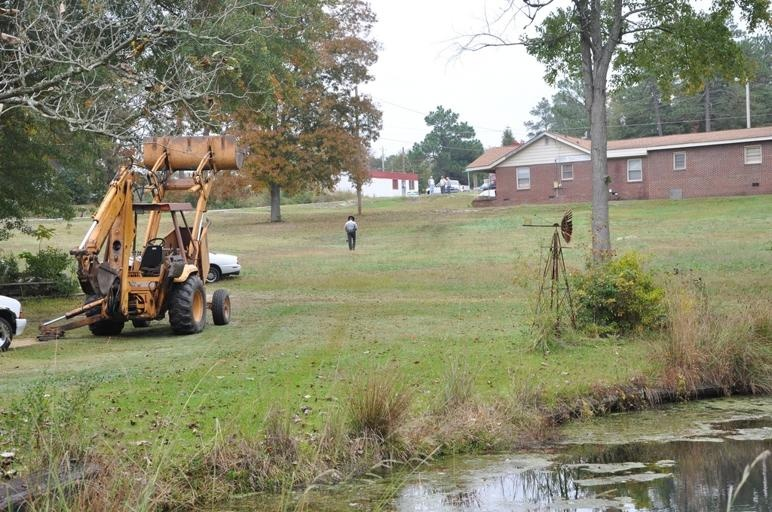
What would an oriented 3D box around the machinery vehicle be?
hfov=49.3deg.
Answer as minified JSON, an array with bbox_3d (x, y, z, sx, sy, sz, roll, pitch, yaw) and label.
[{"bbox_3d":[-6.403,-0.428,22.104,3.060,5.281,6.780,1,6,13],"label":"machinery vehicle"}]

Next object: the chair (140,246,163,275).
[{"bbox_3d":[-6.099,0.173,22.324,0.573,0.886,0.685,4,-5,-16],"label":"chair"}]

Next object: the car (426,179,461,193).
[{"bbox_3d":[6.692,-8.495,98.068,4.112,1.807,2.688,0,0,1],"label":"car"}]

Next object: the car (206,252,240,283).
[{"bbox_3d":[-6.296,0.458,32.535,1.520,0.703,0.748,1,1,-8],"label":"car"}]
